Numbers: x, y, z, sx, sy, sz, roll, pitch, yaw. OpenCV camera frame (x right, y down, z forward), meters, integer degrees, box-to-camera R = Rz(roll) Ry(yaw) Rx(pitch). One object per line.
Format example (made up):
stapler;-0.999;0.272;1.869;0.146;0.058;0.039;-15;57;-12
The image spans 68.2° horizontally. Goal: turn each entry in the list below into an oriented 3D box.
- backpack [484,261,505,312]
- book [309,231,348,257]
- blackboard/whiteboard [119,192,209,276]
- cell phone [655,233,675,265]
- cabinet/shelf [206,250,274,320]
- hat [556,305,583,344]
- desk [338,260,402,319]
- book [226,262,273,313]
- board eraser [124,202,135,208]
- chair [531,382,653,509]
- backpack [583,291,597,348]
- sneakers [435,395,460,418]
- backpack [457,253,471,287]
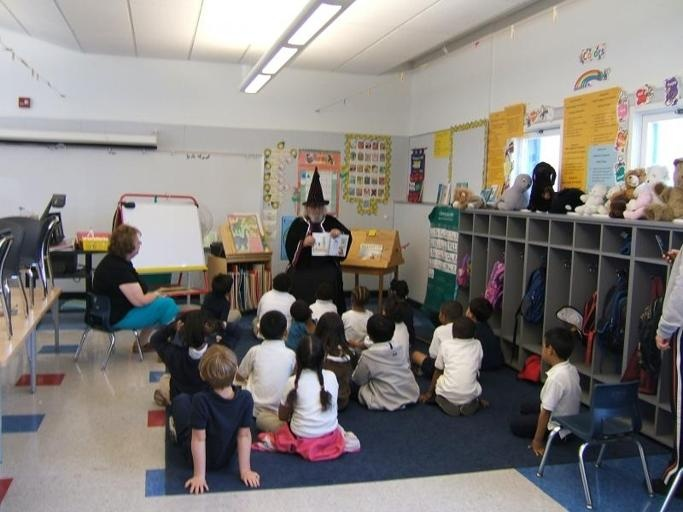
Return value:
backpack;1.648;0.297;5.316;0.160;0.428;0.318;12;-7;-12
book;-0.129;-0.140;5.991;0.459;0.291;0.212;0;10;-6
blackboard/whiteboard;-2.211;-0.269;6.193;0.988;1.156;0.666;-1;-4;-26
cell phone;2.407;-0.050;3.755;0.084;0.099;0.345;17;-15;31
cabinet/shelf;-1.310;0.202;7.026;0.958;1.405;0.695;-3;6;-38
hat;2.067;0.612;4.524;0.081;0.325;0.196;-42;1;41
desk;0.406;0.388;6.841;0.646;0.692;0.671;4;4;33
book;-1.212;0.394;6.818;0.552;0.882;0.627;-1;4;-25
board eraser;-2.590;-0.644;6.192;0.071;0.081;0.020;8;-17;-14
chair;1.761;1.125;3.362;0.781;0.792;0.606;-6;13;-35
backpack;2.165;0.554;4.405;0.126;0.396;0.273;9;12;19
sneakers;0.883;1.249;4.210;0.167;0.121;0.064;38;-7;2
backpack;1.407;0.157;5.792;0.106;0.363;0.131;7;4;-4
